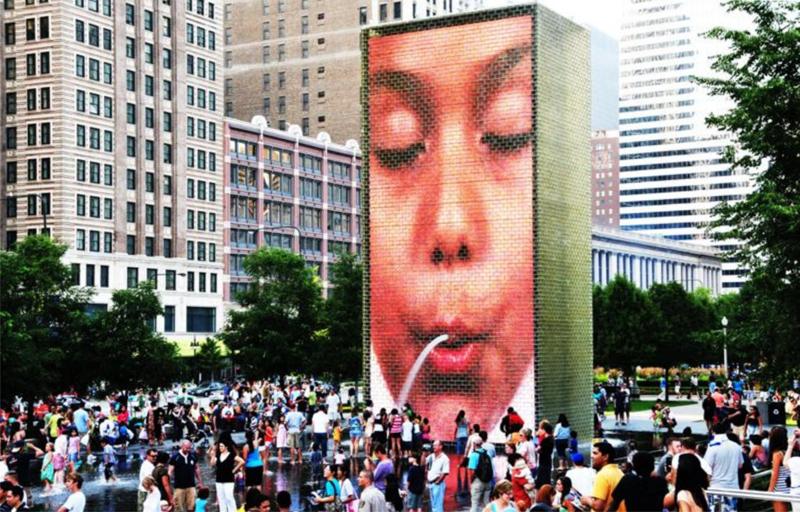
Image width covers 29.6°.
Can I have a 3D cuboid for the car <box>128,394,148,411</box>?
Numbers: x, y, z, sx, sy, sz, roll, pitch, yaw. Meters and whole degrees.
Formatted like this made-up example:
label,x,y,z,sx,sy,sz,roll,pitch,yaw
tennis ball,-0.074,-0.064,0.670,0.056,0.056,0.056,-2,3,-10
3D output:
label,x,y,z,sx,sy,sz,roll,pitch,yaw
car,-23.792,13.440,136.888,1.891,1.151,2.652,0,-1,-7
